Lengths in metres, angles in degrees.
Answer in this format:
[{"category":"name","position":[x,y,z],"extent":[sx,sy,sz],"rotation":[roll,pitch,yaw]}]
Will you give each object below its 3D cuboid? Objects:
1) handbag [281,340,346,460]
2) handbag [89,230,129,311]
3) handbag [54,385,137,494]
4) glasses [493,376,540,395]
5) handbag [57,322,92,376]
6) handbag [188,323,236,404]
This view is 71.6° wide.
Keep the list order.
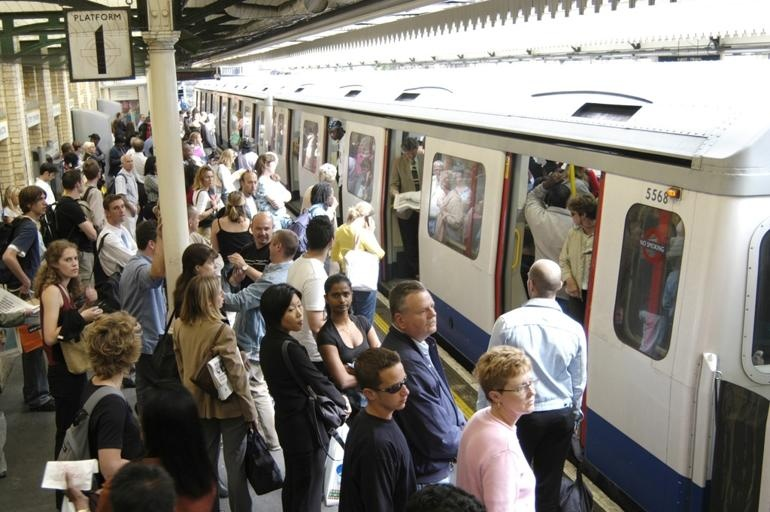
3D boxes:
[{"category":"handbag","position":[-0.548,1.100,4.205],"extent":[0.517,0.896,0.178],"rotation":[0,9,-12]},{"category":"handbag","position":[-3.172,0.208,6.153],"extent":[0.405,0.812,0.344],"rotation":[6,5,8]},{"category":"handbag","position":[-2.030,1.321,3.832],"extent":[0.521,0.773,0.357],"rotation":[-3,11,-30]},{"category":"glasses","position":[0.863,0.822,3.447],"extent":[0.318,0.073,0.081],"rotation":[-3,11,-26]},{"category":"handbag","position":[-2.791,0.873,4.859],"extent":[0.301,0.417,0.118],"rotation":[5,10,14]},{"category":"handbag","position":[-1.374,0.821,4.432],"extent":[0.278,0.579,0.425],"rotation":[10,9,12]}]
